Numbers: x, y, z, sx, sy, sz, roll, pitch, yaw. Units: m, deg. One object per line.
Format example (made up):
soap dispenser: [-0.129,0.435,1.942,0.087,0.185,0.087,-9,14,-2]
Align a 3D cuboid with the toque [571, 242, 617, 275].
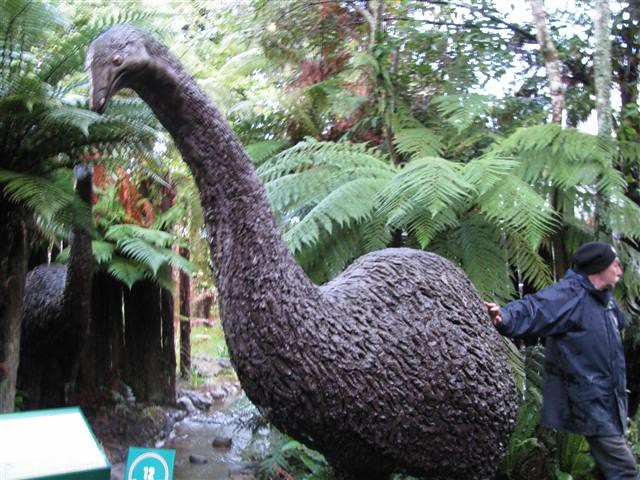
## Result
toque: [1.677,0.101,3.244,0.243,0.188,0.197,-8,24,-6]
